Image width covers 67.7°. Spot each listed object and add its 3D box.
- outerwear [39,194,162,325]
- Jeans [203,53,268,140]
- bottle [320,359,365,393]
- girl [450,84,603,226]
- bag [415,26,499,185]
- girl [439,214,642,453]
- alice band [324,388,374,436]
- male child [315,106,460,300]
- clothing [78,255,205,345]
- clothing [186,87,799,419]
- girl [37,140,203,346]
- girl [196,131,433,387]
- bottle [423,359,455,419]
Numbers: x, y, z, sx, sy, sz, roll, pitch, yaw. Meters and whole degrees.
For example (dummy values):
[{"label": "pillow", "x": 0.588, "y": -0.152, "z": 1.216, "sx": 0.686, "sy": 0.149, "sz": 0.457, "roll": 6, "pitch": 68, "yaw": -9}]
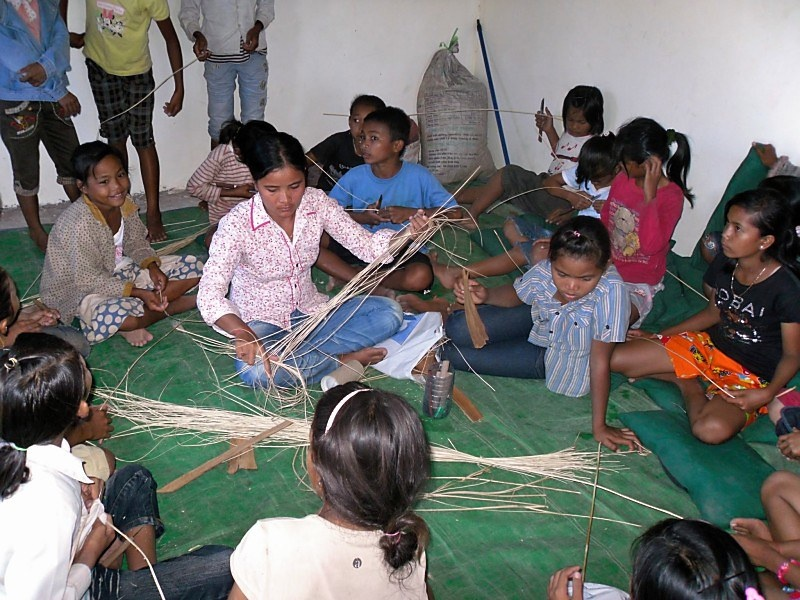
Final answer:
[{"label": "outerwear", "x": -1.520, "y": -0.260, "z": 3.230, "sx": 0.538, "sy": 0.662, "sz": 0.603, "roll": 21, "pitch": 28, "yaw": 10}, {"label": "Jeans", "x": -1.165, "y": -1.433, "z": 4.340, "sx": 0.370, "sy": 0.236, "sz": 0.829, "roll": -4, "pitch": 66, "yaw": -5}, {"label": "bottle", "x": -0.237, "y": 0.311, "z": 2.459, "sx": 0.103, "sy": 0.101, "sz": 0.161, "roll": 15, "pitch": 16, "yaw": 31}, {"label": "girl", "x": 0.910, "y": -1.063, "z": 4.276, "sx": 1.161, "sy": 0.871, "sz": 0.576, "roll": -3, "pitch": 27, "yaw": 0}, {"label": "bag", "x": 0.456, "y": -1.637, "z": 5.184, "sx": 0.692, "sy": 1.416, "sz": 0.485, "roll": -4, "pitch": 4, "yaw": 9}, {"label": "girl", "x": 0.682, "y": 0.070, "z": 2.717, "sx": 0.992, "sy": 0.842, "sz": 0.654, "roll": 19, "pitch": 41, "yaw": 26}, {"label": "alice band", "x": -0.141, "y": 0.279, "z": 1.501, "sx": 0.099, "sy": 0.106, "sz": 0.025, "roll": 34, "pitch": -16, "yaw": 0}, {"label": "male child", "x": -0.090, "y": -0.606, "z": 3.411, "sx": 0.825, "sy": 0.973, "sz": 0.654, "roll": 14, "pitch": 33, "yaw": 20}, {"label": "clothing", "x": -1.385, "y": -0.058, "z": 3.256, "sx": 0.496, "sy": 0.205, "sz": 0.665, "roll": 25, "pitch": 41, "yaw": 38}, {"label": "clothing", "x": 0.637, "y": -0.430, "z": 3.537, "sx": 3.241, "sy": 1.628, "sz": 1.417, "roll": 1, "pitch": 40, "yaw": -10}, {"label": "girl", "x": -1.555, "y": -0.298, "z": 3.293, "sx": 0.742, "sy": 0.948, "sz": 0.842, "roll": 17, "pitch": 44, "yaw": -6}, {"label": "girl", "x": -0.400, "y": -0.170, "z": 2.939, "sx": 0.705, "sy": 0.937, "sz": 0.879, "roll": 35, "pitch": 52, "yaw": 24}, {"label": "bottle", "x": 0.150, "y": 0.400, "z": 2.642, "sx": 0.141, "sy": 0.237, "sz": 0.147, "roll": -1, "pitch": 1, "yaw": 0}]
